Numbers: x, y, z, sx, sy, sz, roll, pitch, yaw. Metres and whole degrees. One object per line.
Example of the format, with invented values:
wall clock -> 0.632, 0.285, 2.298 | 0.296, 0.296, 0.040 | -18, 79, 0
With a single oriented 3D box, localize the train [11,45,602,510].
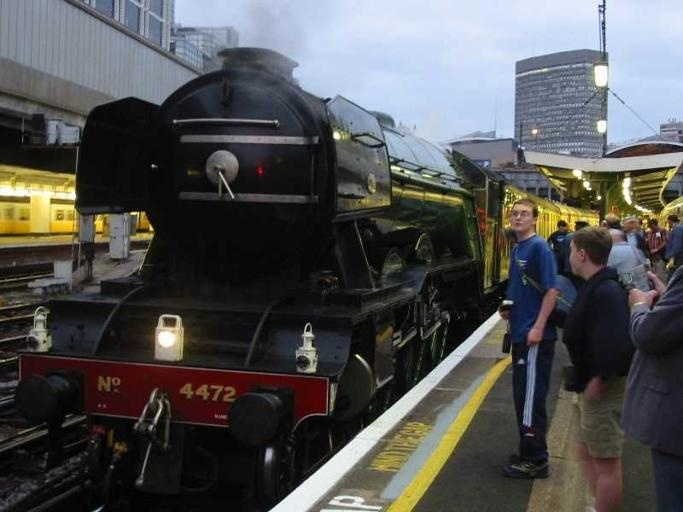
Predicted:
train -> -0.175, -0.045, 6.630 | 2.706, 4.186, 6.056 | 5, 8, 36

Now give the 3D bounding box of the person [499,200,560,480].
person -> 1.512, 0.633, 4.682 | 0.432, 2.158, 0.630 | 2, 6, 14

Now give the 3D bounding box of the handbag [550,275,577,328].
handbag -> 1.708, 0.364, 4.457 | 0.186, 0.387, 0.294 | 8, -25, 7

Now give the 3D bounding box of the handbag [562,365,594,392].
handbag -> 1.608, 0.831, 3.890 | 0.042, 0.163, 0.160 | 4, 0, -29
